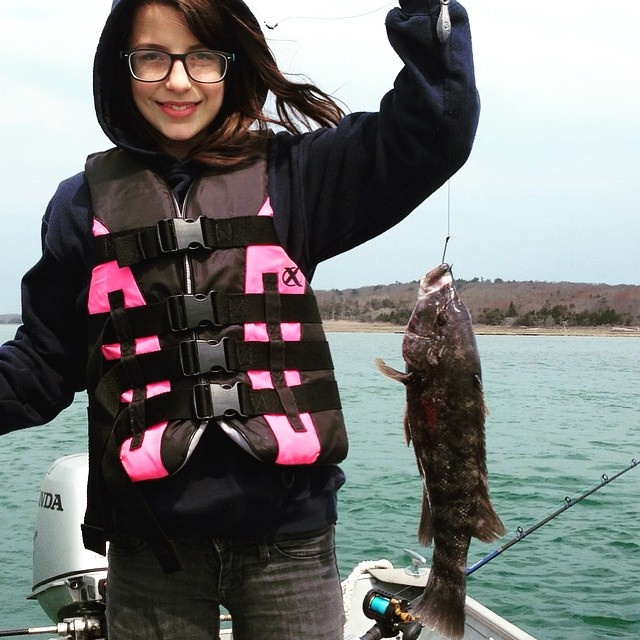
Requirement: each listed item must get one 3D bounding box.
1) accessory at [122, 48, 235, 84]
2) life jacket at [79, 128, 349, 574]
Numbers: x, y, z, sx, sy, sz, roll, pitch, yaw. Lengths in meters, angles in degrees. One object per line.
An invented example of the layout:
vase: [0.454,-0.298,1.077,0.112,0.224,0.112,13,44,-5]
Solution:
accessory: [-0.489,-0.870,2.693,0.291,0.054,0.229,0,3,-7]
life jacket: [-0.397,0.081,2.646,0.926,1.394,0.484,-3,0,2]
